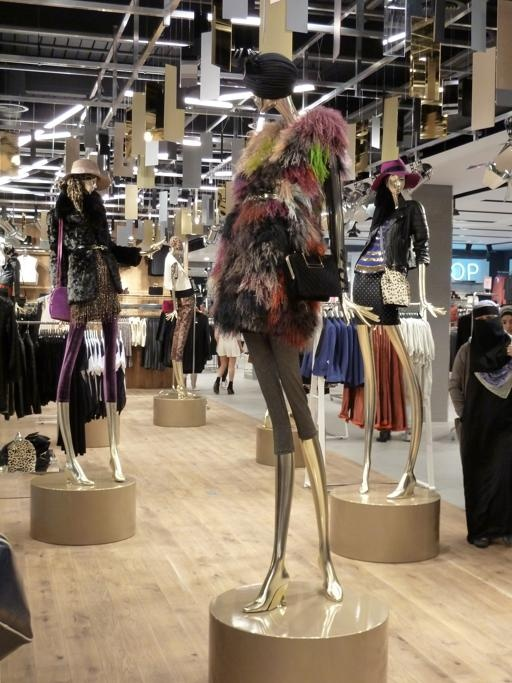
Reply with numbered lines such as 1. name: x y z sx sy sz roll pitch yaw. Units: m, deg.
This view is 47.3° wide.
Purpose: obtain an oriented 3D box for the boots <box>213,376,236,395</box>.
1. boots: -0.668 0.839 10.872 0.186 0.372 0.556 1 -2 -35

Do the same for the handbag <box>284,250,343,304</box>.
1. handbag: 0.144 -0.171 1.531 0.130 0.140 0.049 1 -7 -28

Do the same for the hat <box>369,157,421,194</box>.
1. hat: 0.749 -0.940 3.176 0.164 0.103 0.208 -7 -17 -2

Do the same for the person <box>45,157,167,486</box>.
1. person: -0.865 -0.135 3.098 0.479 1.782 0.489 2 -2 -14

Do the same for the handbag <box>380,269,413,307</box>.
1. handbag: 0.730 -0.274 3.002 0.206 0.193 0.092 4 -2 -42

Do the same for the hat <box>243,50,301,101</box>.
1. hat: 0.044 -0.759 1.684 0.133 0.123 0.106 -4 15 -28

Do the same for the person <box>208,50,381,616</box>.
1. person: 0.072 -0.042 1.646 0.401 1.551 0.326 2 -2 -5
